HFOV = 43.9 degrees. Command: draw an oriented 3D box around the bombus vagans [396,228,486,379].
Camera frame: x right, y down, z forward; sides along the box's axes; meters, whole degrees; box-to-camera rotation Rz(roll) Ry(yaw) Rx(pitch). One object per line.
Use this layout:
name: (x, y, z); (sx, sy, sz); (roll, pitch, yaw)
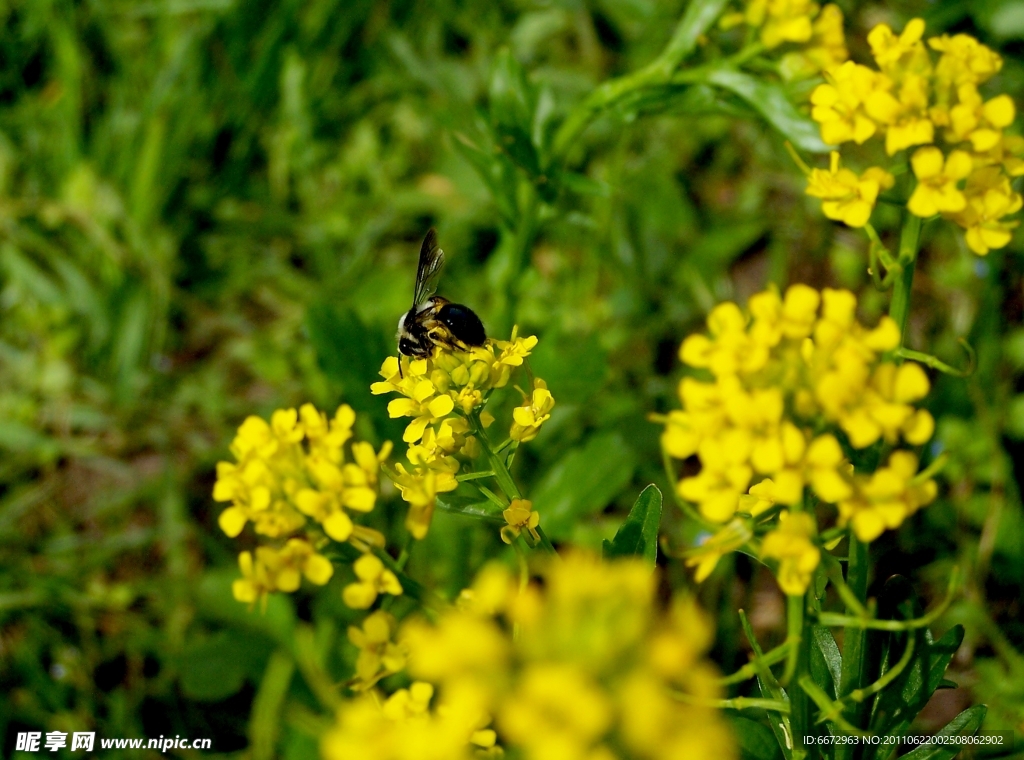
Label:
bombus vagans: (-0.095, -0.087, 1.569); (0.056, 0.185, 0.133); (0, 35, -11)
